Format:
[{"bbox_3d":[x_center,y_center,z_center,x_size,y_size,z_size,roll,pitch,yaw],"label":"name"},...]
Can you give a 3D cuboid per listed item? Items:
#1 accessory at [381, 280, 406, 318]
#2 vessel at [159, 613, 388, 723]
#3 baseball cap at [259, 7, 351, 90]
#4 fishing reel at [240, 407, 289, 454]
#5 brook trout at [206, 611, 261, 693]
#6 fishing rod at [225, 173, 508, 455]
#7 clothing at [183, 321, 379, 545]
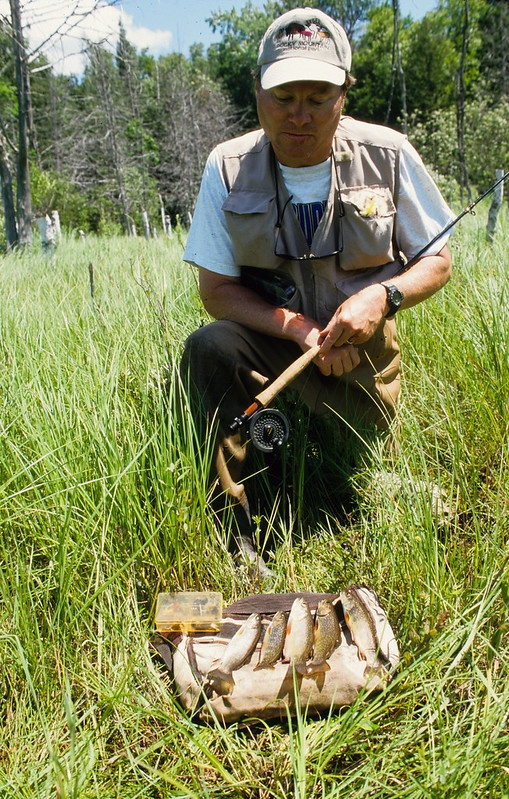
[{"bbox_3d":[0.437,-0.315,2.055,0.062,0.108,0.091,-11,8,-17],"label":"accessory"},{"bbox_3d":[0.026,0.527,1.360,0.289,0.096,0.222,-1,-4,-5],"label":"vessel"},{"bbox_3d":[0.152,-1.076,2.050,0.221,0.192,0.363,4,21,1],"label":"baseball cap"},{"bbox_3d":[0.040,0.089,1.874,0.115,0.141,0.073,-3,17,-1],"label":"fishing reel"},{"bbox_3d":[-0.040,0.542,1.417,0.066,0.243,0.065,25,30,18],"label":"brook trout"},{"bbox_3d":[0.339,-0.260,2.170,1.365,0.245,0.143,-48,24,-13],"label":"fishing rod"},{"bbox_3d":[0.022,0.070,2.209,0.525,0.218,0.770,-14,61,0],"label":"clothing"}]
